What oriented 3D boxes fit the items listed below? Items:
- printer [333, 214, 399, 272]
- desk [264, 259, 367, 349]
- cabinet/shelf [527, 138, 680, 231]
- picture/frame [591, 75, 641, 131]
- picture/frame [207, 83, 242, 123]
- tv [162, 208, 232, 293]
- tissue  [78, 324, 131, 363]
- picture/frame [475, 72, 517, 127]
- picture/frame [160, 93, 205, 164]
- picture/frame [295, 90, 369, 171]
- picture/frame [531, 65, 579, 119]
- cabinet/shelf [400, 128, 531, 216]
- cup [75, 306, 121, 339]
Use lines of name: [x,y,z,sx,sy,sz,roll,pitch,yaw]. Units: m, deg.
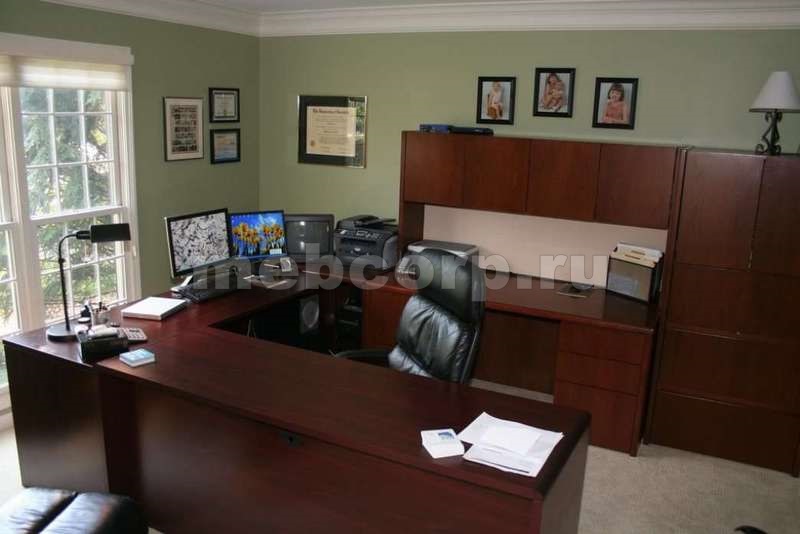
printer: [-0.307,-0.215,5.365,0.577,0.411,0.412,11,13,25]
desk: [-0.674,0.378,5.048,0.379,0.501,0.745,10,-2,40]
cabinet/shelf: [1.706,-0.587,4.535,1.050,0.723,0.540,7,13,29]
picture/frame: [1.776,-1.351,4.671,0.421,0.528,0.040,7,17,21]
picture/frame: [-1.687,-1.560,5.534,0.357,0.310,0.035,8,12,24]
tv: [-1.616,-0.136,4.560,0.238,0.630,0.635,9,16,30]
tissue : [-1.877,0.451,3.572,0.288,0.170,0.287,11,13,41]
picture/frame: [0.852,-1.472,4.996,0.452,0.505,0.042,7,15,23]
picture/frame: [-1.981,-1.258,5.157,0.034,0.759,0.562,15,21,36]
picture/frame: [-0.641,-1.369,5.629,0.779,0.727,0.076,5,18,16]
picture/frame: [1.314,-1.480,4.813,0.432,0.507,0.040,6,13,24]
cabinet/shelf: [0.597,-0.861,4.966,1.054,0.624,0.333,9,24,18]
cup: [-1.921,0.380,3.668,0.251,0.154,0.234,3,14,-1]
